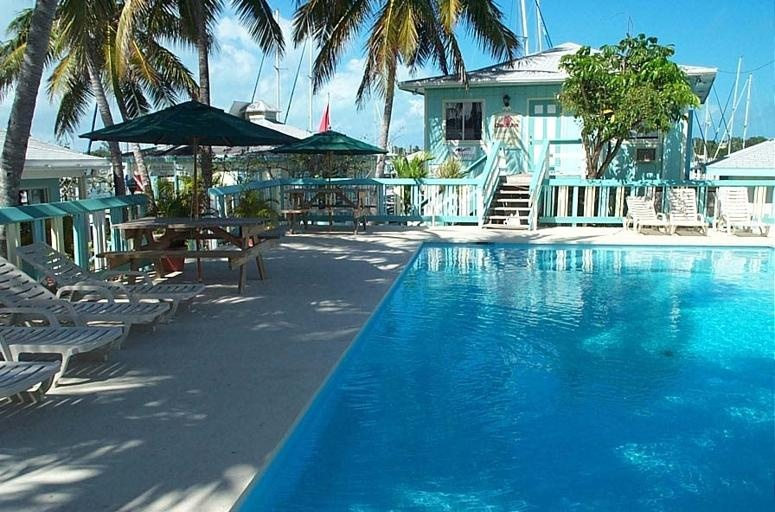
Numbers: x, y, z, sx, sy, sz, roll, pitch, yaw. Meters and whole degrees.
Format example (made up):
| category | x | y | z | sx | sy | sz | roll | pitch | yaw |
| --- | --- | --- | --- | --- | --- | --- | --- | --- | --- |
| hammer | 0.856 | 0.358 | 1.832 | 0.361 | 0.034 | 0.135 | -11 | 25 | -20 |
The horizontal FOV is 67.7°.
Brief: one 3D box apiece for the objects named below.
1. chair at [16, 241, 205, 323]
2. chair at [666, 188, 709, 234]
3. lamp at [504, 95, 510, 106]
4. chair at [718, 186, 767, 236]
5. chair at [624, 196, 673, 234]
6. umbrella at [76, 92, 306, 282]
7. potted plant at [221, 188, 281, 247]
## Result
| category | x | y | z | sx | sy | sz | roll | pitch | yaw |
| --- | --- | --- | --- | --- | --- | --- | --- | --- | --- |
| chair | -4.089 | 0.405 | 8.575 | 2.641 | 0.949 | 1.302 | 2 | 7 | 3 |
| chair | 9.171 | -1.335 | 17.688 | 0.956 | 1.381 | 1.773 | 1 | 6 | 27 |
| lamp | 4.879 | -6.209 | 23.530 | 0.305 | 0.452 | 0.205 | -1 | 6 | 11 |
| chair | 10.734 | -1.341 | 17.532 | 1.277 | 1.438 | 1.678 | 1 | 6 | 29 |
| chair | 8.083 | -1.258 | 18.051 | 1.270 | 1.067 | 1.408 | 0 | 6 | 24 |
| umbrella | -3.892 | -0.974 | 11.201 | 3.872 | 3.045 | 3.686 | -3 | 8 | -23 |
| potted plant | -3.689 | -0.956 | 15.903 | 1.726 | 1.627 | 1.655 | 0 | 12 | -7 |
